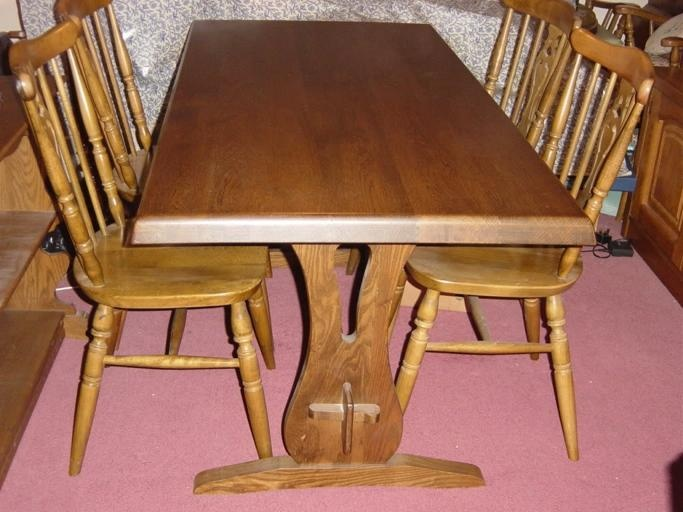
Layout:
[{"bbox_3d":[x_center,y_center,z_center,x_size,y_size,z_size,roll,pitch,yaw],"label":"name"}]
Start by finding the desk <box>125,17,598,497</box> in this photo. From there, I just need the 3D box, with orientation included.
[{"bbox_3d":[-0.048,-0.104,2.003,0.896,0.934,1.708,0,31,-5],"label":"desk"}]

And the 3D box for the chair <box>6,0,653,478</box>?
[{"bbox_3d":[0.012,0.127,1.986,1.368,1.048,1.539,-1,49,0],"label":"chair"}]
